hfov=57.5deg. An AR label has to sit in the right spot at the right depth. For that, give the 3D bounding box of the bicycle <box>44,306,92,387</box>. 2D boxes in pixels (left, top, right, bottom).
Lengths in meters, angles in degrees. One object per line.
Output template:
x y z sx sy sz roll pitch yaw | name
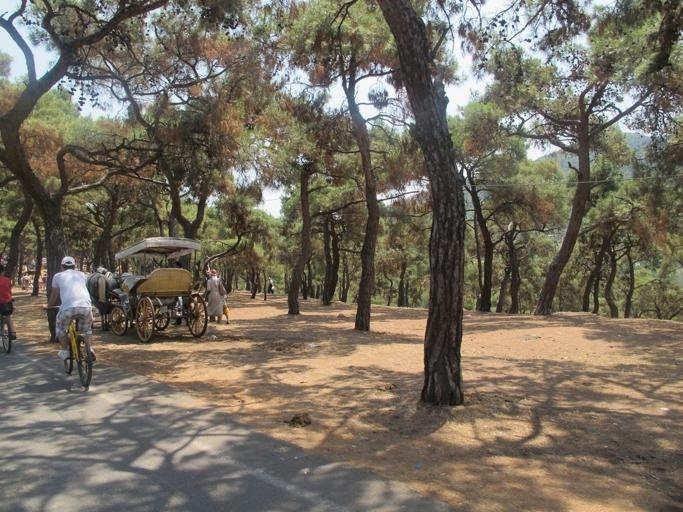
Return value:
-5.924 1.969 13.860 1.101 1.652 2.425 -4 1 -36 | bicycle

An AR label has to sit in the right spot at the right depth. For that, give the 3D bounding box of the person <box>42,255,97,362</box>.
-6.036 1.061 13.854 0.740 2.456 1.416 0 -1 -38 | person

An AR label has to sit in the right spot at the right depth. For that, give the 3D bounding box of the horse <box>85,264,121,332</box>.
-7.886 1.277 20.593 1.003 2.677 0.966 -1 2 -36 | horse

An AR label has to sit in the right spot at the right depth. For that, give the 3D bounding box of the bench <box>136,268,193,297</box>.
-5.510 0.850 19.485 1.639 0.944 0.761 -1 4 -21 | bench

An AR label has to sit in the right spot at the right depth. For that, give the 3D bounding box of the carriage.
-6.590 1.116 21.271 2.389 3.110 4.985 3 -1 -43 | carriage
